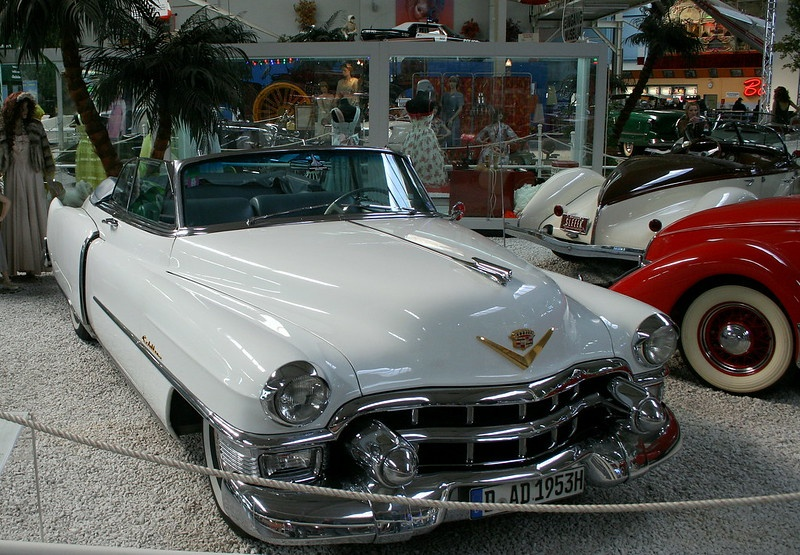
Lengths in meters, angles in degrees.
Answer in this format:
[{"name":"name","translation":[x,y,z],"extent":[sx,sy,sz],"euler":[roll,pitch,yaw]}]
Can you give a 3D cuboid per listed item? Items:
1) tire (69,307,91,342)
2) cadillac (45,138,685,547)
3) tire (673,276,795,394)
[{"name":"tire","translation":[-2.712,0.402,4.659],"extent":[0.101,0.305,0.289],"euler":[-5,14,-34]},{"name":"cadillac","translation":[-0.681,0.308,3.723],"extent":[1.964,1.266,3.587],"euler":[-5,13,-27]},{"name":"tire","translation":[2.475,0.403,4.013],"extent":[0.623,0.728,0.205],"euler":[20,31,23]}]
